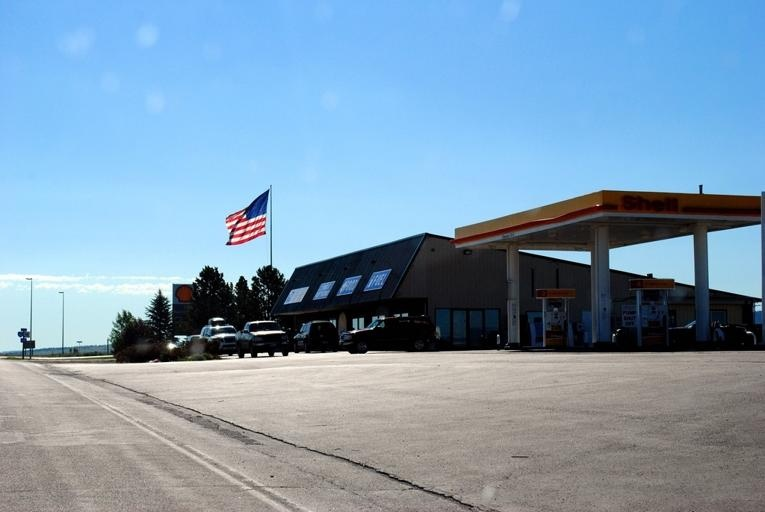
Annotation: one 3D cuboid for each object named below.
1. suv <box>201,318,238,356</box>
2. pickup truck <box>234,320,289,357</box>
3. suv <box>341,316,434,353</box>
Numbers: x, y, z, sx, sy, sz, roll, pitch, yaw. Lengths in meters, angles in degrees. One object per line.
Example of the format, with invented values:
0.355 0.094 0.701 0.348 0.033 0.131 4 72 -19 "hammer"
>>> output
-11.334 5.640 49.354 2.035 2.144 4.608 0 -14 -24 "suv"
-7.779 5.458 45.803 2.779 2.221 5.582 0 -4 -16 "pickup truck"
0.589 5.030 44.648 4.819 2.154 2.424 2 -6 -10 "suv"
